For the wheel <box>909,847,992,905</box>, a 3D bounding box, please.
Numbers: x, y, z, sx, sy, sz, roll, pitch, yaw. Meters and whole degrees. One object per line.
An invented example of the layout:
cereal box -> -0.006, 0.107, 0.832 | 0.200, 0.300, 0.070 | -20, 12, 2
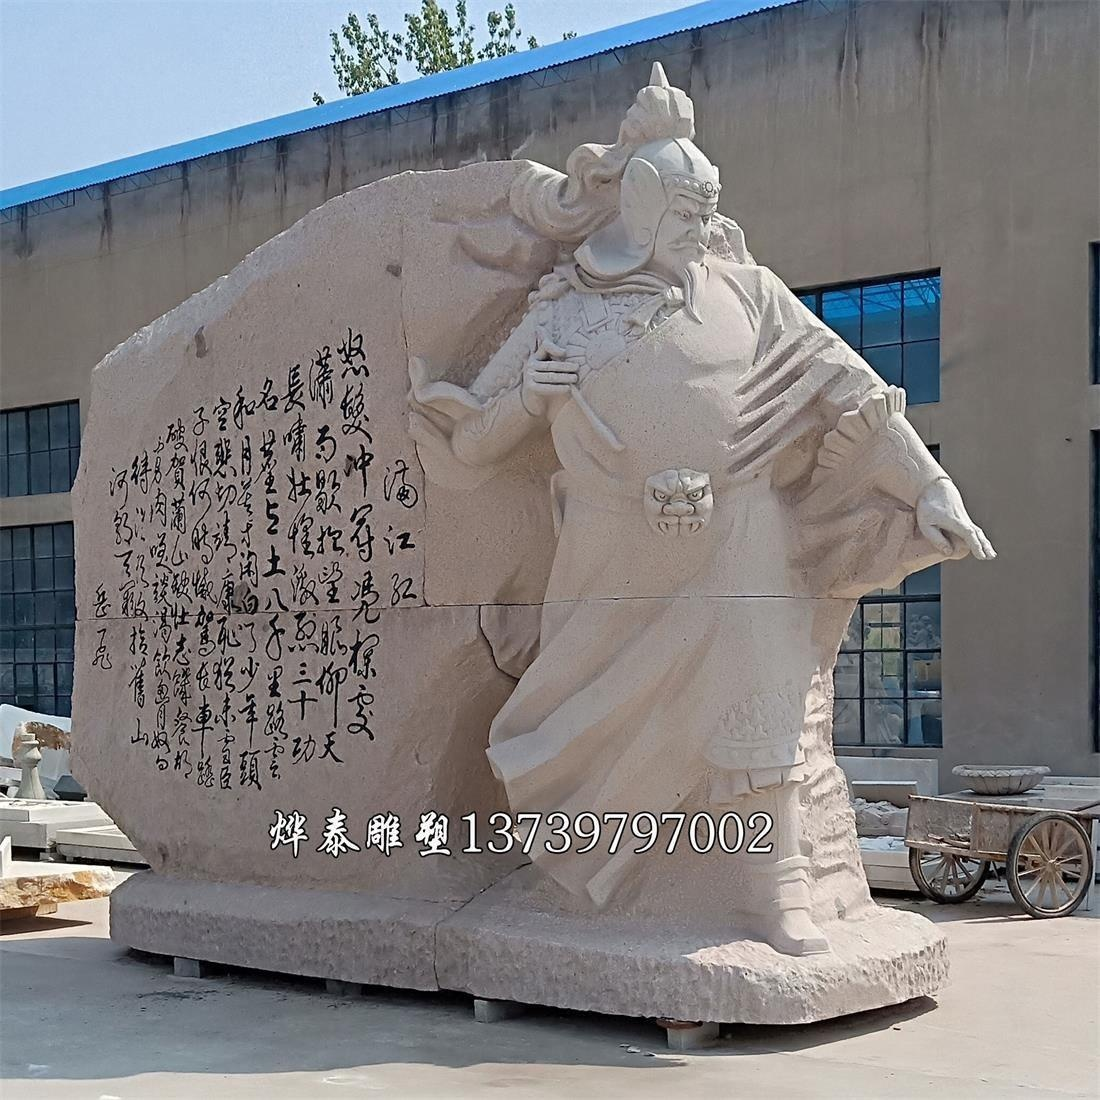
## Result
wheel -> 1.809, 1.480, 10.461 | 0.230, 0.303, 0.056 | 5, -1, 6

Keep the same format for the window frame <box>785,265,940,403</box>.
window frame -> 1.647, -1.134, 11.847 | 1.058, 0.884, 0.041 | 0, 2, 33

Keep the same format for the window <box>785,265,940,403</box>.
window -> 1.647, -1.134, 11.847 | 1.058, 0.884, 0.041 | 0, 2, 33

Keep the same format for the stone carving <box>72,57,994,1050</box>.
stone carving -> 0.086, 0.160, 9.646 | 4.089, 4.435, 1.519 | -1, -2, 32

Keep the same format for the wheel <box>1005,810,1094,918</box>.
wheel -> 2.171, 1.349, 10.137 | 0.454, 0.482, 0.439 | -2, 6, 0
